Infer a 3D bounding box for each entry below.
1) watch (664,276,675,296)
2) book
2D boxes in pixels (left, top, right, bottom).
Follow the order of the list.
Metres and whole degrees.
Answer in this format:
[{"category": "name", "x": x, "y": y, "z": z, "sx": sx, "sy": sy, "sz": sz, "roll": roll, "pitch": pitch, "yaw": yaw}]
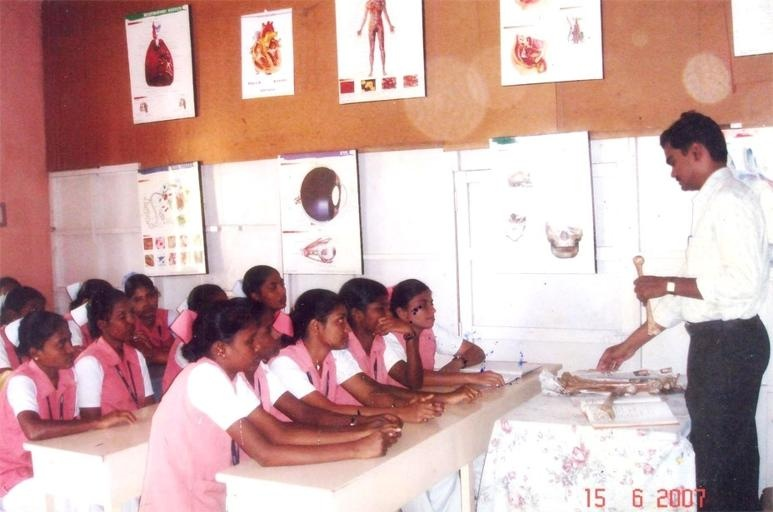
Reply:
[{"category": "watch", "x": 1.215, "y": 0.128, "z": 2.880, "sx": 0.054, "sy": 0.077, "sz": 0.028, "roll": -1, "pitch": -6, "yaw": 34}, {"category": "book", "x": 0.962, "y": 0.623, "z": 2.686, "sx": 0.392, "sy": 0.078, "sz": 0.415, "roll": -6, "pitch": -4, "yaw": -16}]
